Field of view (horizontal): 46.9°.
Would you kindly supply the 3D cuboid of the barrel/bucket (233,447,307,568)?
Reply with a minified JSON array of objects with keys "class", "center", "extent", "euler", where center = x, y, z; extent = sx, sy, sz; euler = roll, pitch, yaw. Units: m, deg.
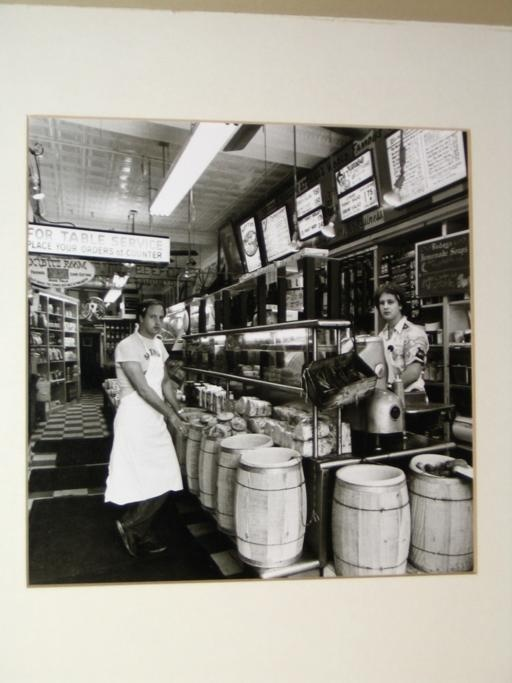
[{"class":"barrel/bucket","center":[0.026,0.725,2.750],"extent":[0.379,0.588,0.381],"euler":[-1,0,0]}]

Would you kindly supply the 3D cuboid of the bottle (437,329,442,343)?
[{"class":"bottle","center":[0.789,-0.022,2.544],"extent":[0.024,0.063,0.006],"euler":[0,1,1]}]

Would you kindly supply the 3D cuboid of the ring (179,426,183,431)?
[{"class":"ring","center":[-0.346,0.400,2.737],"extent":[0.016,0.024,0.030],"euler":[-1,1,-9]}]
